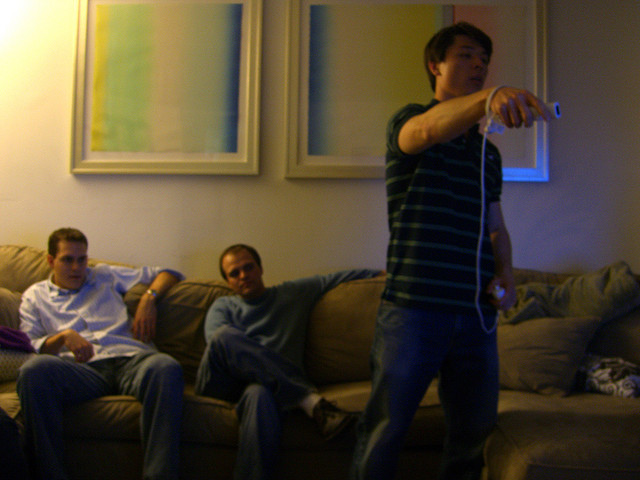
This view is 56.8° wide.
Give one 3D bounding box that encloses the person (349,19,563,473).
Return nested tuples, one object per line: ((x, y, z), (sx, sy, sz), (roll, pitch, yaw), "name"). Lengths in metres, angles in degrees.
((0.456, 0.201, 2.143), (0.727, 1.409, 0.558), (-3, 3, -11), "person")

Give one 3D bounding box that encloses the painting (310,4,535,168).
((0.527, -0.762, 2.984), (1.091, 0.836, 0.022), (0, 3, 2), "painting")

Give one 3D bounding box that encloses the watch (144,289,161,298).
((-0.914, 0.285, 3.187), (0.052, 0.015, 0.055), (20, -8, 4), "watch")

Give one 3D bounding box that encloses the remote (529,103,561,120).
((0.728, -0.414, 1.910), (0.110, 0.052, 0.041), (-3, 3, -17), "remote")

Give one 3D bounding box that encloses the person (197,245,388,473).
((-0.143, 0.598, 2.824), (1.084, 0.530, 1.047), (-3, 25, -9), "person")

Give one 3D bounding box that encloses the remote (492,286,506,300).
((0.668, 0.201, 2.217), (0.036, 0.050, 0.022), (-2, -6, -2), "remote")
